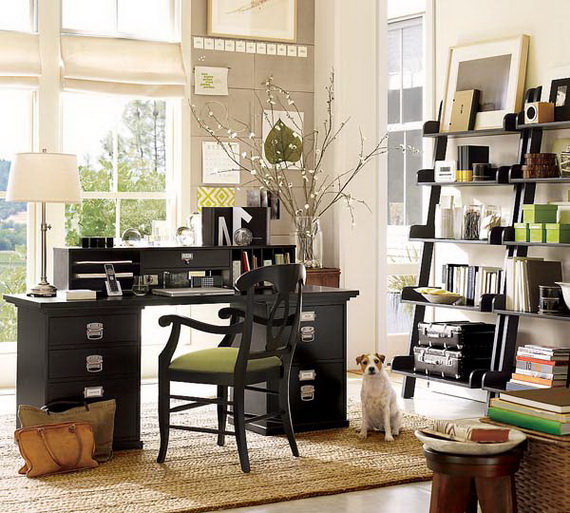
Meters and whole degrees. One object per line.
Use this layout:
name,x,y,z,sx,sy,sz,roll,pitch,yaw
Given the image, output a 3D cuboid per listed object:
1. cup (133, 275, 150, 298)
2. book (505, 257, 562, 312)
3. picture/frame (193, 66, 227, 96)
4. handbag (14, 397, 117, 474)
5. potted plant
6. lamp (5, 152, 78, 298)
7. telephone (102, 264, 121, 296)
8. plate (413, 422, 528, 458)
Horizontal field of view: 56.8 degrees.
cup,-0.826,0.171,3.131,0.111,0.122,0.108,1,-2,0
book,1.672,0.184,3.480,0.366,0.366,0.205,0,-2,4
picture/frame,-0.734,-1.695,5.050,0.312,0.247,0.045,0,1,-16
handbag,-1.103,0.902,2.603,0.413,0.290,0.197,9,-2,-44
potted plant,-0.039,-0.863,5.750,2.021,1.803,2.043,-3,-5,41
lamp,-1.599,-0.202,3.534,0.418,0.913,1.223,1,-3,-22
telephone,-1.033,0.142,3.148,0.080,0.024,0.244,3,38,-30
plate,0.539,0.521,1.495,0.333,0.057,0.235,0,-3,5
